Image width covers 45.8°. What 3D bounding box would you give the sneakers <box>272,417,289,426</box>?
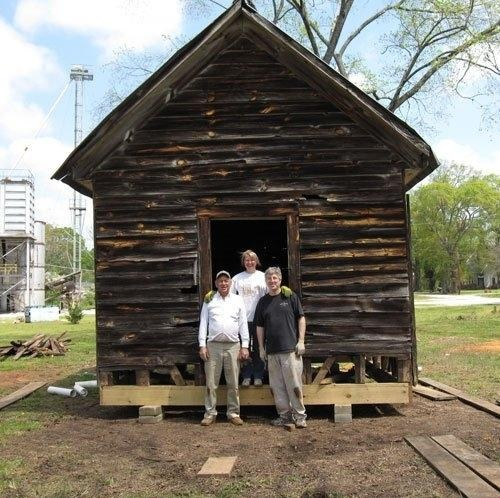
[{"bbox_3d":[0.408,2.324,7.974,0.214,0.074,0.099,7,-5,-12],"label":"sneakers"}]

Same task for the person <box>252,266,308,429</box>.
[{"bbox_3d":[0.408,1.311,8.041,0.687,2.116,0.393,-3,-5,12],"label":"person"}]

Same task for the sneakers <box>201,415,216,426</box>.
[{"bbox_3d":[-0.545,2.345,8.158,0.143,0.113,0.346,-3,-4,25],"label":"sneakers"}]

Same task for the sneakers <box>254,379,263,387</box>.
[{"bbox_3d":[0.121,1.920,8.516,0.086,0.086,0.117,3,-1,0],"label":"sneakers"}]

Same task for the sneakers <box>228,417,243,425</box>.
[{"bbox_3d":[-0.177,2.351,8.090,0.094,0.064,0.179,4,-13,-27],"label":"sneakers"}]

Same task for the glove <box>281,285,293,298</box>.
[{"bbox_3d":[0.491,0.576,8.046,0.160,0.120,0.159,-6,14,-36],"label":"glove"}]

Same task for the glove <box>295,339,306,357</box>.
[{"bbox_3d":[0.655,1.334,7.906,0.171,0.160,0.177,5,9,-7],"label":"glove"}]

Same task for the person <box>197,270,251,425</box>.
[{"bbox_3d":[-0.359,1.356,8.219,0.690,2.080,0.394,-2,-5,-1],"label":"person"}]

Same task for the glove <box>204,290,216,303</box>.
[{"bbox_3d":[-0.561,0.662,8.304,0.127,0.183,0.070,26,-25,25],"label":"glove"}]
